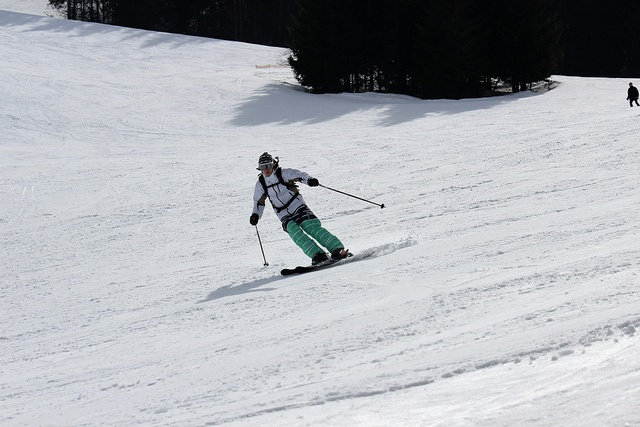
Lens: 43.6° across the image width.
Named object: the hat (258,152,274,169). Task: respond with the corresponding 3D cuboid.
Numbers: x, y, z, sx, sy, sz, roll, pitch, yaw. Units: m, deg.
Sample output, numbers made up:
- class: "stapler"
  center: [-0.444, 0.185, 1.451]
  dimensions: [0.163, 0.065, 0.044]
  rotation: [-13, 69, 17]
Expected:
- class: "hat"
  center: [-1.130, -1.114, 16.961]
  dimensions: [0.322, 0.303, 0.375]
  rotation: [-14, -11, -5]
